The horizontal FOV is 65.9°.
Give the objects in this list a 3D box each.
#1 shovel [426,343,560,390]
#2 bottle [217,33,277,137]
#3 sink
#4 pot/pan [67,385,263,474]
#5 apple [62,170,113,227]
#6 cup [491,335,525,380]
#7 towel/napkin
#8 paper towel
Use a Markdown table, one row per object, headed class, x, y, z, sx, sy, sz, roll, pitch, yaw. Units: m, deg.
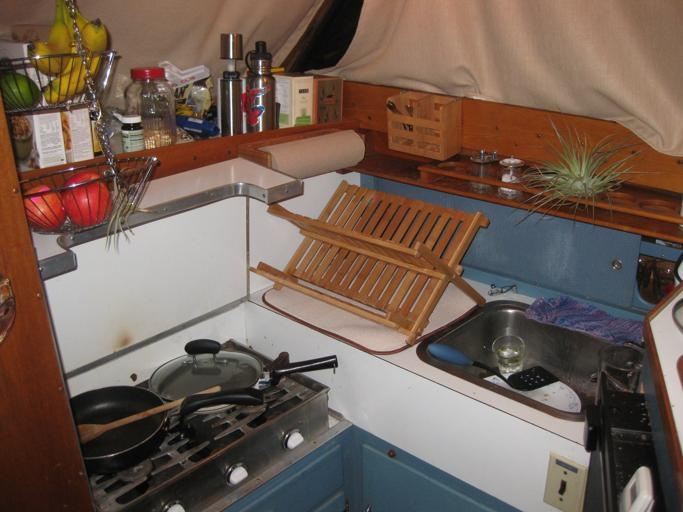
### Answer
| class | x | y | z | sx | sy | sz | roll | pitch | yaw |
| --- | --- | --- | --- | --- | --- | --- | --- | --- | --- |
| shovel | 0.458 | 0.339 | 1.590 | 0.224 | 0.039 | 0.082 | 18 | 18 | 23 |
| bottle | -0.300 | -0.568 | 1.751 | 0.230 | 0.315 | 0.160 | -10 | 29 | -24 |
| sink | 0.610 | 0.305 | 1.638 | 0.448 | 0.168 | 0.358 | 18 | 34 | 40 |
| pot/pan | -0.506 | 0.438 | 1.456 | 0.440 | 0.064 | 0.228 | -3 | 24 | -32 |
| apple | -0.561 | -0.113 | 1.173 | 0.109 | 0.123 | 0.110 | -12 | -10 | 26 |
| cup | 0.517 | 0.312 | 1.709 | 0.108 | 0.122 | 0.113 | -6 | 29 | 3 |
| towel/napkin | 0.742 | 0.190 | 1.622 | 0.145 | 0.031 | 0.221 | -18 | 26 | -42 |
| paper towel | -0.097 | -0.350 | 1.836 | 0.130 | 0.111 | 0.438 | 24 | 33 | 36 |
